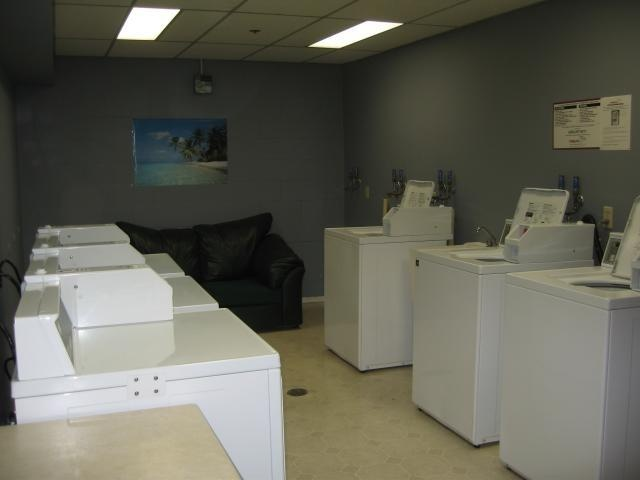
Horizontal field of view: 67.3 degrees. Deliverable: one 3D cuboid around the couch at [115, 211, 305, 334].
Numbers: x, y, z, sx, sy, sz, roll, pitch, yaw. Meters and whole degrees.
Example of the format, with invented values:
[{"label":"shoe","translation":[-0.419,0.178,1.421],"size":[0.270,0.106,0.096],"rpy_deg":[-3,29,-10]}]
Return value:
[{"label":"couch","translation":[-1.324,0.477,5.630],"size":[2.067,1.289,1.145],"rpy_deg":[-4,12,-28]}]
